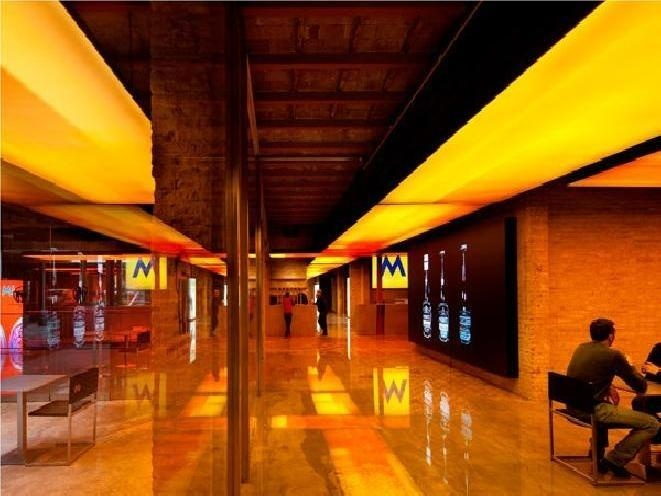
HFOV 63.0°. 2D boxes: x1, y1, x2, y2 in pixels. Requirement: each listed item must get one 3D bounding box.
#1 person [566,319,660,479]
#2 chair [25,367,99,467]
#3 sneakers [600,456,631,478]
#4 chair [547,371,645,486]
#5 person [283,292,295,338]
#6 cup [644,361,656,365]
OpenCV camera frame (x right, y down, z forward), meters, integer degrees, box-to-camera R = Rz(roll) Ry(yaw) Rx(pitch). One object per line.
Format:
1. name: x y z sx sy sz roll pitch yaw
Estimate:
1. person: 3.037 1.579 5.798 0.896 1.611 0.703 -5 -4 11
2. chair: -3.250 2.037 6.641 0.474 0.927 1.269 -1 -8 -15
3. sneakers: 2.964 2.293 5.640 0.293 0.197 0.181 -6 -5 24
4. chair: 2.841 1.853 5.813 0.954 0.864 0.644 18 -19 -30
5. person: -1.403 2.232 18.028 0.386 1.462 0.844 -3 -4 -6
6. cup: 3.648 1.318 6.191 0.097 0.032 0.072 9 -8 -17
